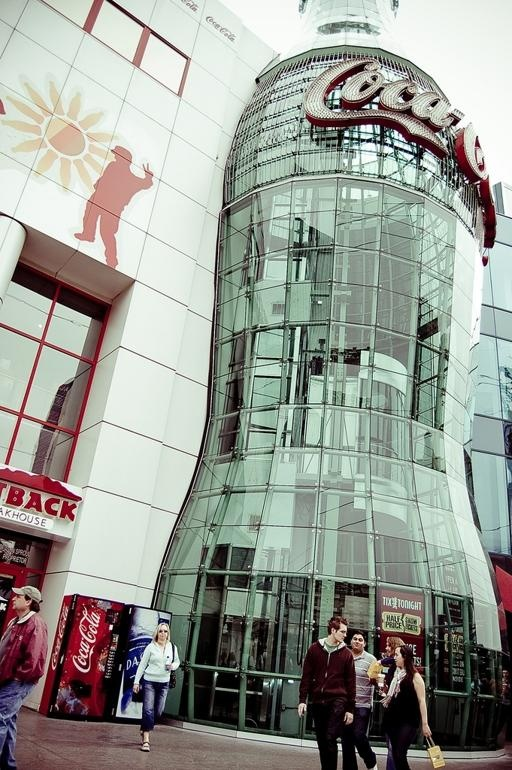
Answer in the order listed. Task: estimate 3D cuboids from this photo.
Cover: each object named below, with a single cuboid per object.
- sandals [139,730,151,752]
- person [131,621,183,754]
[{"bbox_3d":[-1.230,3.994,6.315,0.121,0.182,0.363,11,-23,-6],"label":"sandals"},{"bbox_3d":[-1.229,3.617,6.785,0.469,1.387,0.931,11,-23,-7],"label":"person"}]
